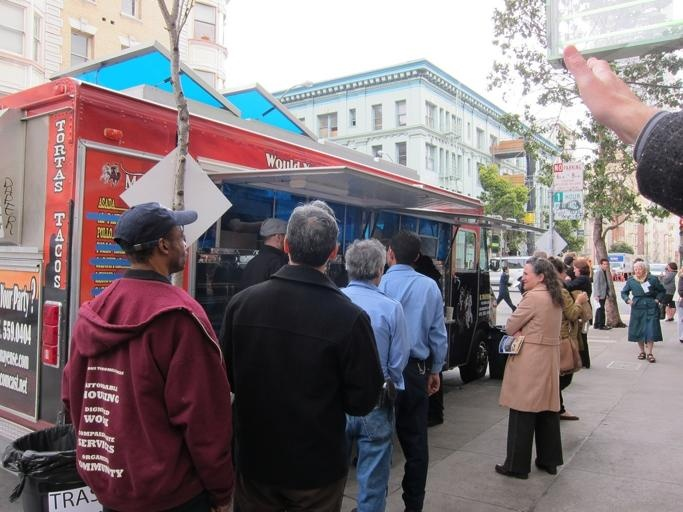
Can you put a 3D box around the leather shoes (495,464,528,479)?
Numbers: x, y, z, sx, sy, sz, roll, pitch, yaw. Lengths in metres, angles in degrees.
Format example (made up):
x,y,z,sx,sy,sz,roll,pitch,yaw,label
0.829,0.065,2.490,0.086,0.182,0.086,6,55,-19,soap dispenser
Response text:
x,y,z,sx,sy,sz,roll,pitch,yaw,label
1.679,2.091,5.951,0.110,0.133,0.273,3,3,-41,leather shoes

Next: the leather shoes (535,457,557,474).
x,y,z,sx,sy,sz,roll,pitch,yaw,label
2.077,2.108,6.116,0.212,0.142,0.191,-2,-3,17,leather shoes

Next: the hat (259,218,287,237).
x,y,z,sx,sy,sz,roll,pitch,yaw,label
-0.669,-0.278,5.953,0.170,0.135,0.241,4,9,45,hat

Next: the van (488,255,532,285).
x,y,z,sx,sy,sz,roll,pitch,yaw,label
6.140,0.565,22.304,2.029,1.289,1.578,1,-2,10,van

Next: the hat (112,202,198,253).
x,y,z,sx,sy,sz,roll,pitch,yaw,label
-1.046,-0.167,3.416,0.384,0.177,0.244,-23,27,-35,hat

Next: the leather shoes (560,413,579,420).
x,y,z,sx,sy,sz,roll,pitch,yaw,label
2.921,2.081,7.848,0.288,0.130,0.104,0,-14,4,leather shoes
